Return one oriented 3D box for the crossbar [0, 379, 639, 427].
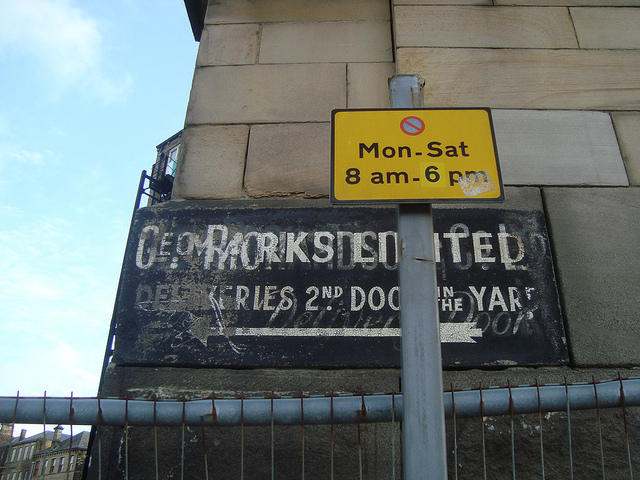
[{"bbox_3d":[-0.031,1.036,3.372,4.004,0.218,0.227,-2,-18,2],"label":"crossbar"}]
